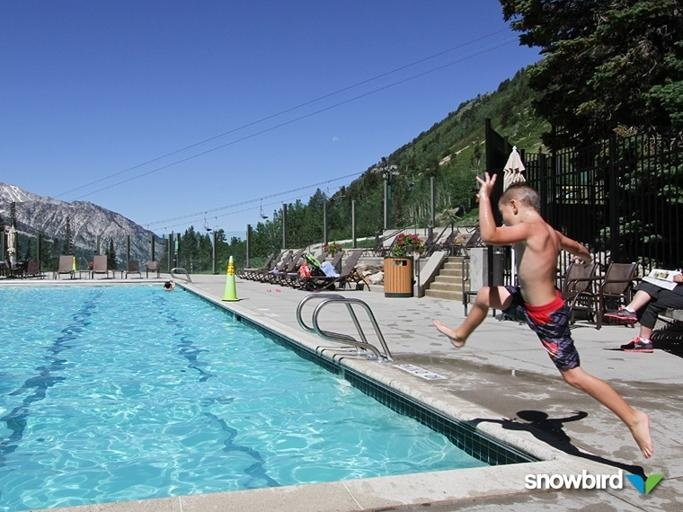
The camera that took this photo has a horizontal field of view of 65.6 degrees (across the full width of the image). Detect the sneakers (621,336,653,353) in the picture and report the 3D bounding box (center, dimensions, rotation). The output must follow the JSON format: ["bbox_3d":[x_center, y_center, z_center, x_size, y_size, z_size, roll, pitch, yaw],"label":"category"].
[{"bbox_3d":[3.763,1.129,6.823,0.186,0.193,0.405,1,-3,-42],"label":"sneakers"}]

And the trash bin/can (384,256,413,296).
[{"bbox_3d":[1.758,0.574,15.192,0.974,1.059,0.938,0,-1,10],"label":"trash bin/can"}]
